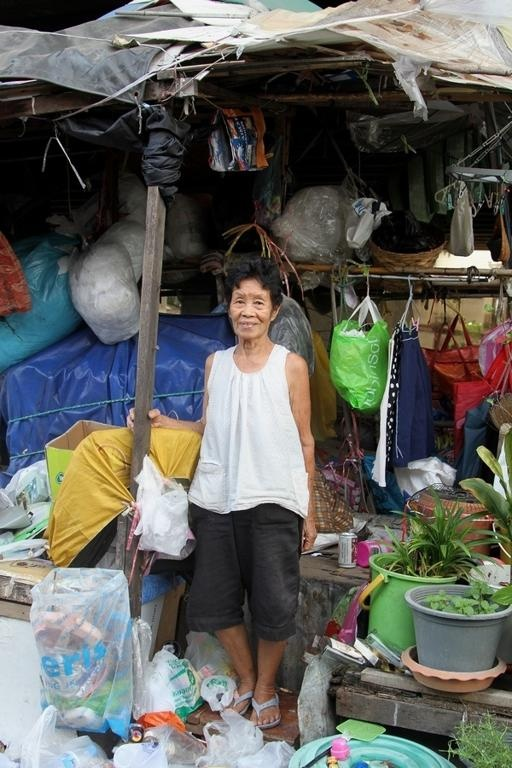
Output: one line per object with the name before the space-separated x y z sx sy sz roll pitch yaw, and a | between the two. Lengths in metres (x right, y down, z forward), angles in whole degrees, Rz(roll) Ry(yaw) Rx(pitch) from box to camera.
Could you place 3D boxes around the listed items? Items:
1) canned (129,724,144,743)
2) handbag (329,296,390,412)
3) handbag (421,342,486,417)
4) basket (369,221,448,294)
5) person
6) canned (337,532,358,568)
canned | -0.392 1.130 1.977 0.048 0.052 0.047 0 -2 -32
handbag | 0.565 -0.156 3.397 0.317 0.662 0.313 0 8 6
handbag | 1.660 -0.126 4.957 0.292 0.632 0.509 13 49 20
basket | 0.964 -0.880 3.923 0.436 0.207 0.536 2 34 5
person | -0.031 0.412 2.280 0.477 1.751 0.400 0 8 6
canned | 0.432 0.791 2.914 0.086 0.148 0.088 -2 8 -13
